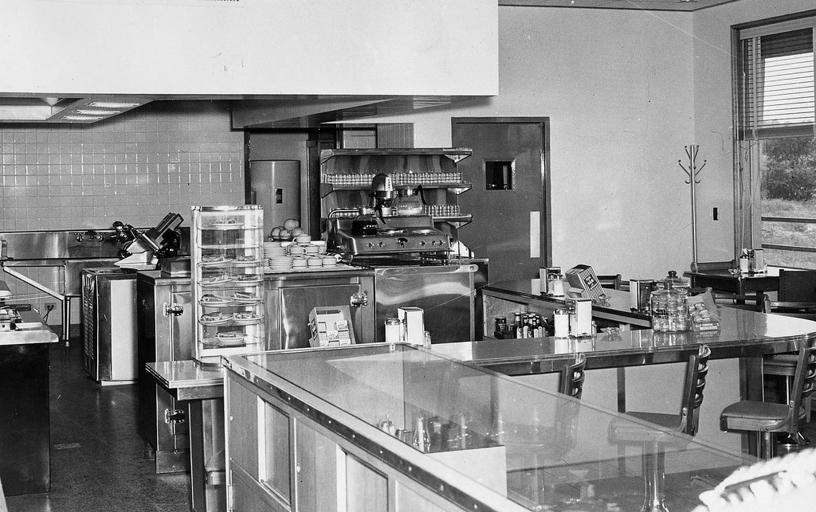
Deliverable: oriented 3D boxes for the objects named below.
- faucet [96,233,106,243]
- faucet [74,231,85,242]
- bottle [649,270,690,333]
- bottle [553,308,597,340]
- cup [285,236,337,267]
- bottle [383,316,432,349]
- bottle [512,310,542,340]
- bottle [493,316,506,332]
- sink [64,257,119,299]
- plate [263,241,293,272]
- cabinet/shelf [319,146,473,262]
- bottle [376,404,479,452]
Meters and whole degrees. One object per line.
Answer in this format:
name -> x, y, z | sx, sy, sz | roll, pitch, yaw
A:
faucet -> -4.067, -0.257, 10.484 | 0.144, 0.135, 0.042 | -1, 1, -29
faucet -> -4.304, -0.261, 10.419 | 0.137, 0.114, 0.105 | 8, -6, -17
bottle -> 1.923, 0.360, 5.869 | 0.354, 0.475, 0.349 | -1, -2, 0
bottle -> 1.198, 0.485, 5.708 | 0.280, 0.201, 0.200 | -1, 4, 13
cup -> -0.953, -0.049, 7.760 | 0.576, 0.315, 0.421 | -4, 5, -23
bottle -> 0.005, 0.512, 5.228 | 0.297, 0.146, 0.157 | 2, -1, -18
bottle -> 1.107, 0.638, 7.347 | 0.287, 0.207, 0.294 | -2, 4, 0
bottle -> 0.876, 0.653, 7.610 | 0.136, 0.127, 0.077 | 2, 6, 42
sink -> -4.128, 0.281, 10.302 | 0.652, 0.513, 0.414 | -4, 4, -19
plate -> -1.239, 0.001, 7.564 | 0.255, 0.268, 0.430 | -3, 4, -11
cabinet/shelf -> -0.193, -0.643, 9.484 | 1.575, 1.388, 0.515 | -1, 0, -18
bottle -> 0.103, 0.792, 3.553 | 0.165, 0.055, 0.250 | -15, 18, -33
